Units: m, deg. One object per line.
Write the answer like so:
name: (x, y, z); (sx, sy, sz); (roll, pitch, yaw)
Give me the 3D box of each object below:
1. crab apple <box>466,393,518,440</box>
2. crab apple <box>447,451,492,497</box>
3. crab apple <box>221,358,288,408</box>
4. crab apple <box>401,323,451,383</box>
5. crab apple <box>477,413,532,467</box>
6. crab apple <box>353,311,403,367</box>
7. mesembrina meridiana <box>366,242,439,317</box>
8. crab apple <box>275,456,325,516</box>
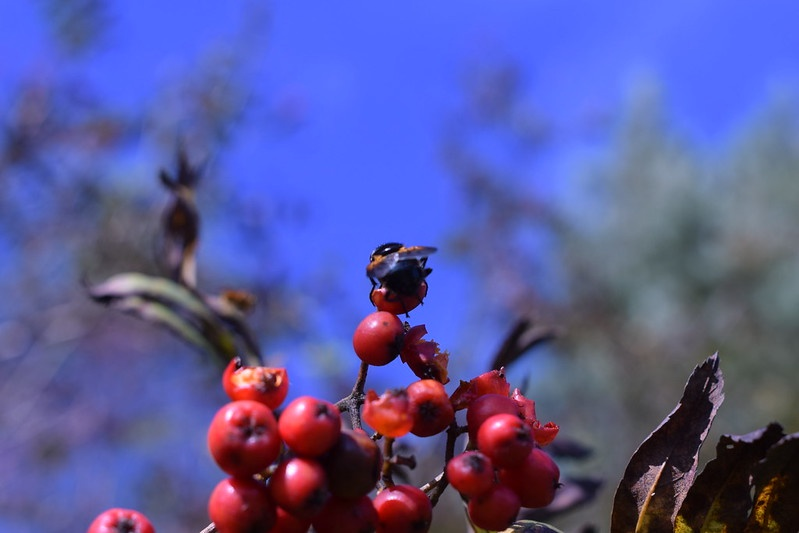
crab apple: (0.226, 0.348, 2.443); (0.099, 0.141, 0.108); (3, 3, 8)
crab apple: (0.166, 0.487, 2.368); (0.088, 0.105, 0.061); (5, 0, -8)
crab apple: (-0.345, 0.279, 2.453); (0.114, 0.072, 0.118); (15, -50, 4)
crab apple: (0.064, 0.217, 2.464); (0.099, 0.142, 0.110); (-30, -40, 25)
crab apple: (0.249, 0.416, 2.403); (0.129, 0.097, 0.089); (-6, -36, -8)
crab apple: (-0.050, 0.180, 2.524); (0.108, 0.152, 0.118); (13, -8, 0)
mesembrina meridiana: (0.030, 0.051, 2.523); (0.215, 0.076, 0.185); (-7, -21, -46)
crab apple: (-0.226, 0.495, 2.360); (0.111, 0.153, 0.115); (2, 5, 34)
